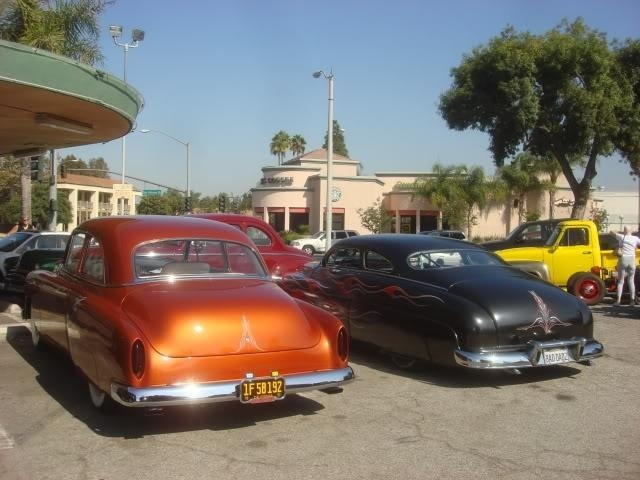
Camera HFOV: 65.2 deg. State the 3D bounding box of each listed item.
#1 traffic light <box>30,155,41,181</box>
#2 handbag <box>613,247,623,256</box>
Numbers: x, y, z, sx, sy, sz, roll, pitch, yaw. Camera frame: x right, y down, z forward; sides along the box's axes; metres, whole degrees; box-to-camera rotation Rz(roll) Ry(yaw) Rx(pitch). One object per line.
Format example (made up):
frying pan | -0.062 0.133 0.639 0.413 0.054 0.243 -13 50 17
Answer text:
traffic light | -10.383 -2.642 18.346 0.320 0.893 0.872 -1 4 -39
handbag | 7.732 0.320 13.026 0.057 0.193 0.215 3 -4 -11
